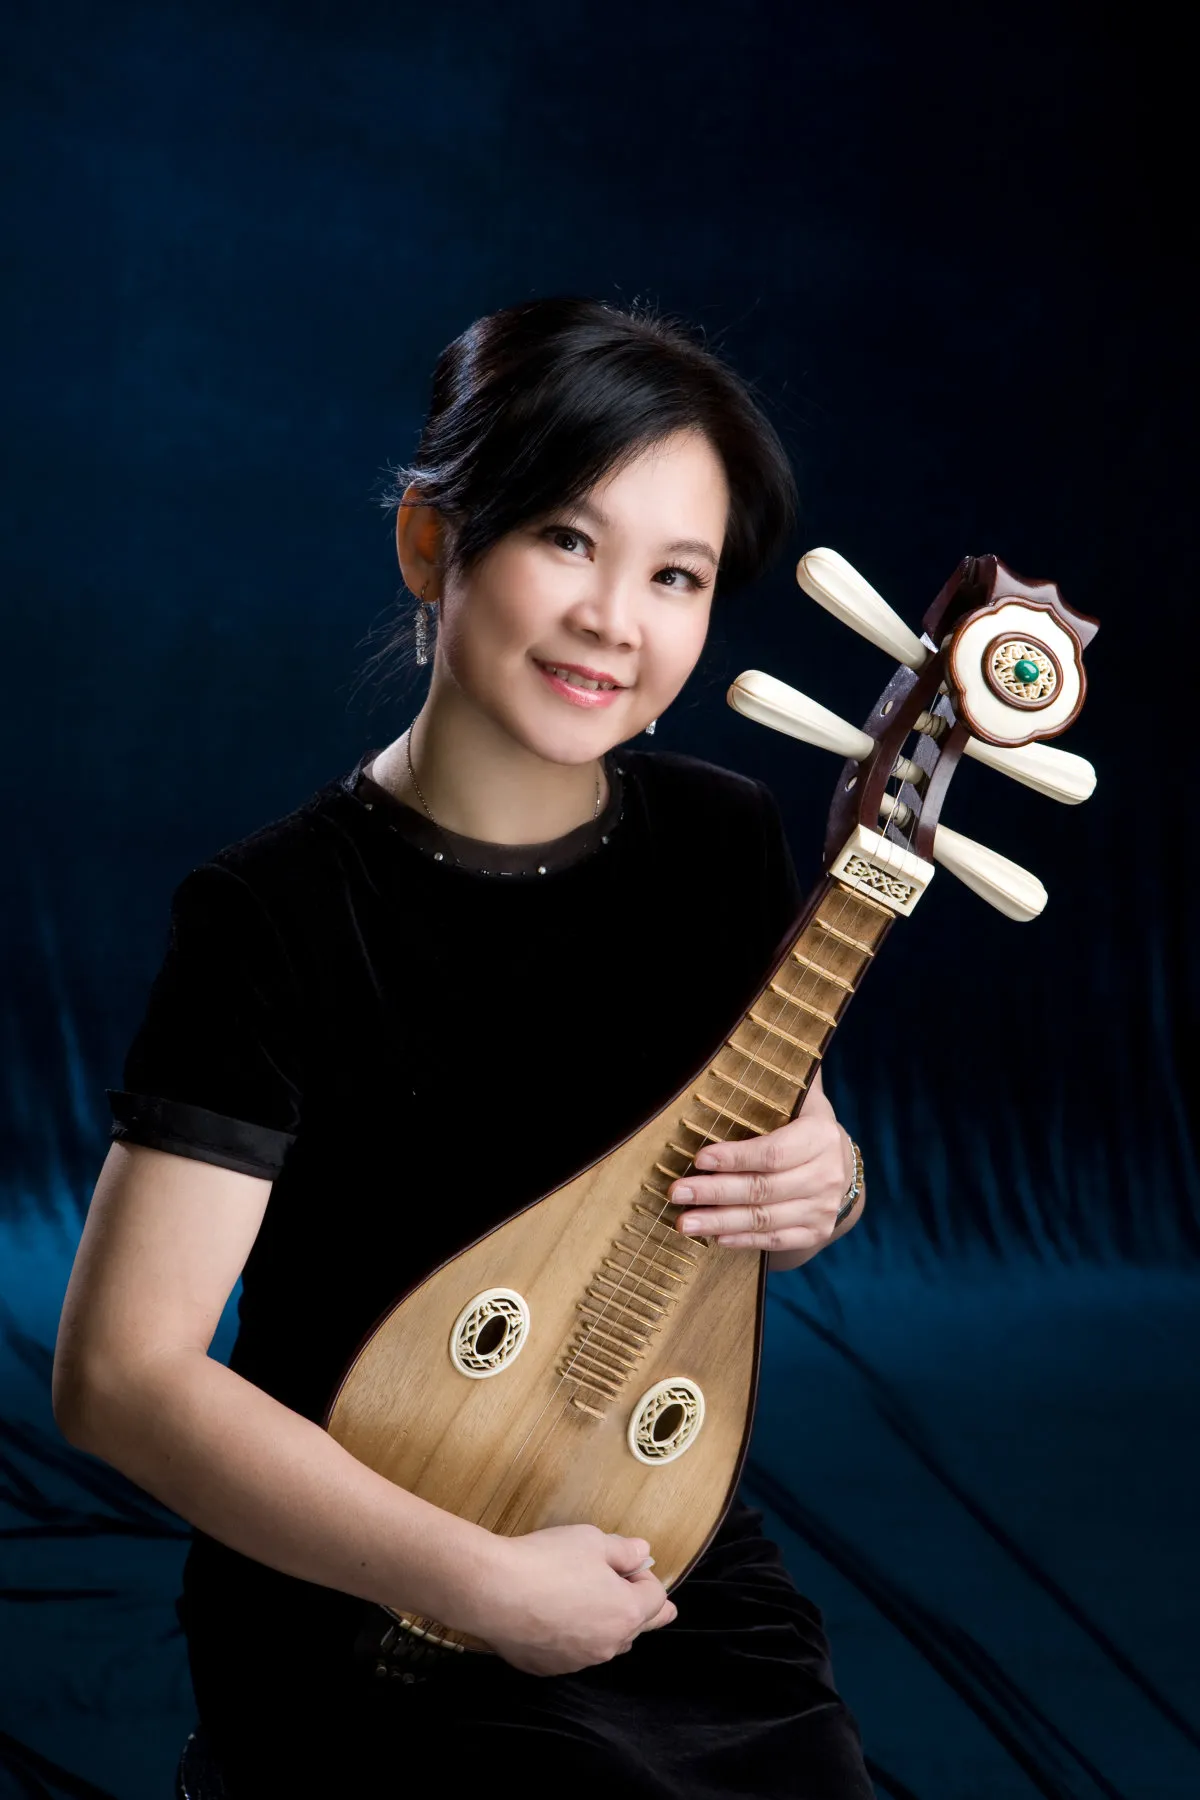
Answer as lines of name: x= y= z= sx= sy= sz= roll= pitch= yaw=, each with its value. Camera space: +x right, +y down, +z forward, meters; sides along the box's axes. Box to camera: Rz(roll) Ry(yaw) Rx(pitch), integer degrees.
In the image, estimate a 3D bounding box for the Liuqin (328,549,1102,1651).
Liuqin: x=0.048 y=0.157 z=1.234 sx=0.339 sy=0.824 sz=0.176 roll=36 pitch=-14 yaw=-18
